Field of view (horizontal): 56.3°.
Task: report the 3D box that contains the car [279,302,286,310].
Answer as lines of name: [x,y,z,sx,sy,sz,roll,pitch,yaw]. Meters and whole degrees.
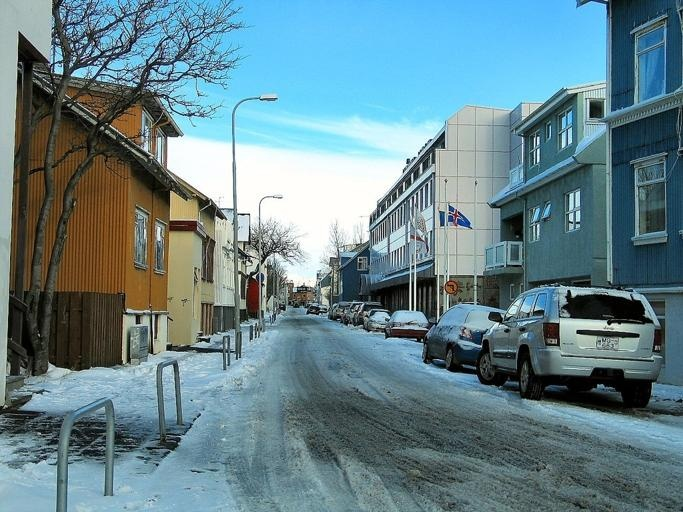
car: [-13.788,11.907,149.500,1.257,1.192,3.096,1,2,-1]

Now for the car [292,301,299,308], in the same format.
car: [-16.768,17.121,226.275,1.694,2.135,3.489,-2,-7,-4]

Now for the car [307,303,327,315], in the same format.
car: [-3.930,8.499,98.613,1.529,1.576,3.793,2,0,9]

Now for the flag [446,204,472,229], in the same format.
flag: [6.415,-2.168,35.372,1.181,1.607,2.820,-1,-9,9]
